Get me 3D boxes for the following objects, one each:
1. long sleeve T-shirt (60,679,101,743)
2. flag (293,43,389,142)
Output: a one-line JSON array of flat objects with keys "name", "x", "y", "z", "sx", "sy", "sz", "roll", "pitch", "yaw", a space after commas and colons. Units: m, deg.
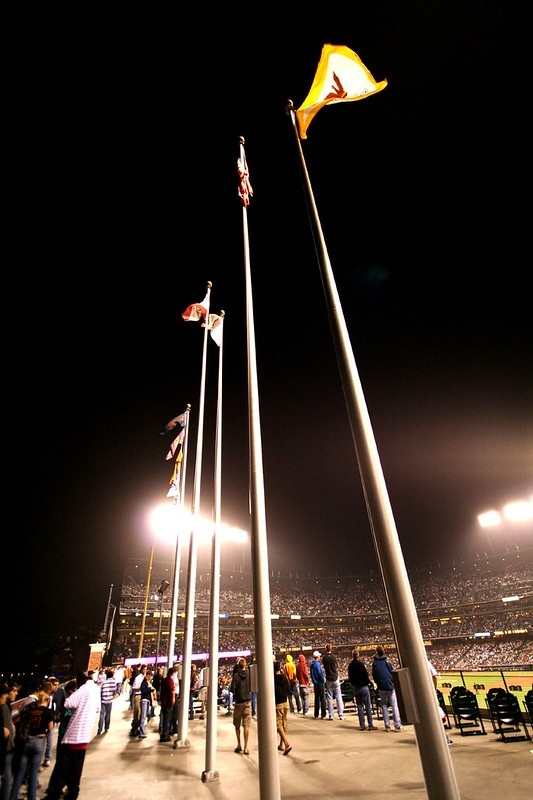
[{"name": "long sleeve T-shirt", "x": -2.959, "y": 4.949, "z": 7.379, "sx": 0.480, "sy": 0.827, "sz": 0.680, "roll": 4, "pitch": -32, "yaw": -15}, {"name": "flag", "x": 1.310, "y": -5.491, "z": 8.177, "sx": 1.355, "sy": 0.542, "sz": 1.436, "roll": -18, "pitch": -18, "yaw": -32}]
